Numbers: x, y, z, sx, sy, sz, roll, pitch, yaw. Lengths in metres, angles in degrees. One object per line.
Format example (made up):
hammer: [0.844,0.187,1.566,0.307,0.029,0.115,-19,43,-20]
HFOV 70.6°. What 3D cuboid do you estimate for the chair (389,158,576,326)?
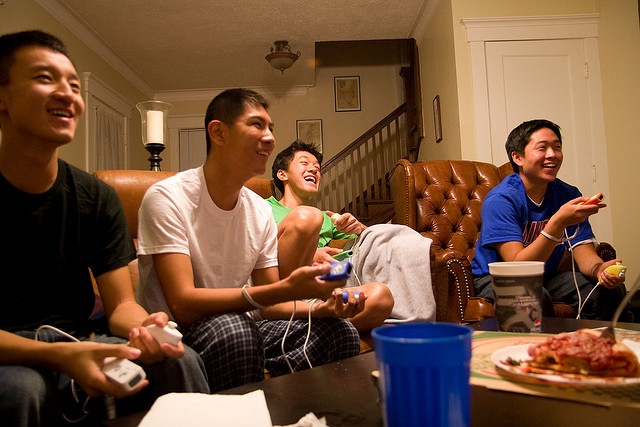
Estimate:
chair: [0.977,0.254,2.831,0.937,1.280,1.151,-4,0,20]

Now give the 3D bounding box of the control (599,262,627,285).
control: [1.375,0.272,2.118,0.073,0.040,0.054,-25,-8,12]

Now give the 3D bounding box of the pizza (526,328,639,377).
pizza: [0.627,0.322,1.093,0.156,0.050,0.121,-2,-3,18]

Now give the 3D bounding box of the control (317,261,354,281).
control: [0.048,0.181,1.451,0.112,0.049,0.152,-2,1,2]

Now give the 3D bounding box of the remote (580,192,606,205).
remote: [1.599,-0.090,2.661,0.100,0.023,0.097,-11,-20,-47]

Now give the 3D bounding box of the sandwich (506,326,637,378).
sandwich: [0.627,0.342,1.112,0.169,0.060,0.130,-3,-4,11]

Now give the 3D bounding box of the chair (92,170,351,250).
chair: [-0.689,-0.053,2.700,0.438,0.420,1.102,-1,1,37]

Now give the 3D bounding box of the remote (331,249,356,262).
remote: [0.118,0.229,2.431,0.103,0.027,0.113,-9,0,30]

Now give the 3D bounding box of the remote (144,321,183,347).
remote: [-0.453,0.355,1.334,0.104,0.061,0.047,12,12,13]

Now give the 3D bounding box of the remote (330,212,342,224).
remote: [0.090,0.027,2.685,0.042,0.061,0.060,25,-4,14]

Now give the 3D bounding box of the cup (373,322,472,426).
cup: [0.214,0.315,0.998,0.198,0.229,0.207,-4,3,0]

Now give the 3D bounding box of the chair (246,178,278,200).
chair: [-0.369,-0.159,2.970,0.165,0.213,0.146,2,3,31]

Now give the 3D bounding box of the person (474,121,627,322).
person: [1.226,0.011,2.545,0.725,1.113,0.830,-2,1,14]

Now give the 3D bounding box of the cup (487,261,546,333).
cup: [0.635,0.281,1.455,0.174,0.236,0.178,-2,-6,0]
